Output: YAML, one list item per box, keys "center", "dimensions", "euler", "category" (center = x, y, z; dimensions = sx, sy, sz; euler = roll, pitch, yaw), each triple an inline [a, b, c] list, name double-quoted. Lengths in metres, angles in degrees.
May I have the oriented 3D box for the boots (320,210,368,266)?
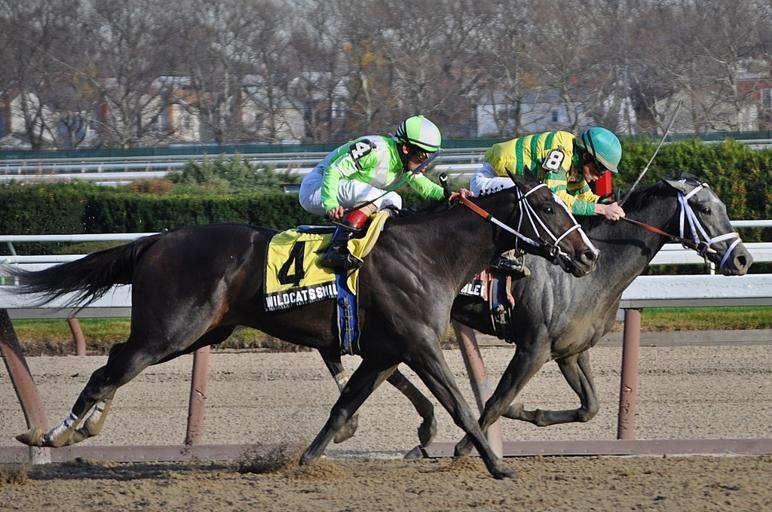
- center: [-0.621, -0.249, 25.089]
  dimensions: [0.365, 0.845, 0.736]
  euler: [32, -11, -39]
  category: "boots"

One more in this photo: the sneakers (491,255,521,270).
- center: [1.877, 0.105, 25.476]
  dimensions: [0.257, 0.124, 0.319]
  euler: [3, -4, -25]
  category: "sneakers"
